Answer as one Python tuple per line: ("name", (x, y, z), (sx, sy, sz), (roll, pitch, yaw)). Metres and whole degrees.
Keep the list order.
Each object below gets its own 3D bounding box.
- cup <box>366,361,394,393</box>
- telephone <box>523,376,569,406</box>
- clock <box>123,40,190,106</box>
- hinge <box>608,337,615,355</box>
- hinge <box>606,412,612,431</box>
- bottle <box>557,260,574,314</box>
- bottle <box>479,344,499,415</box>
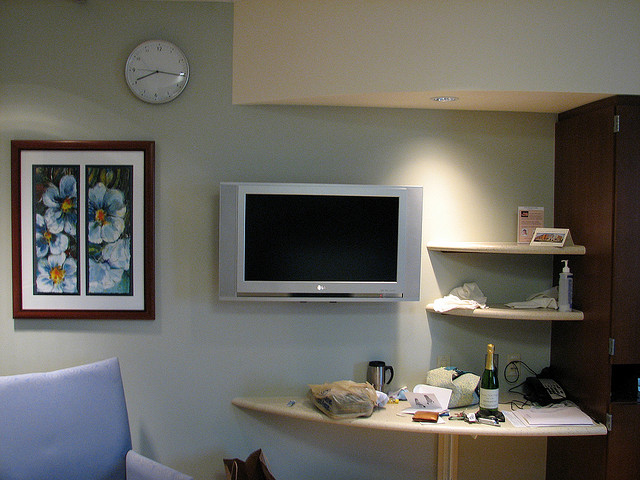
("cup", (0.401, 0.907, 3.708), (0.181, 0.198, 0.128), (-2, 0, 4))
("telephone", (1.471, 0.991, 3.659), (0.231, 0.167, 0.160), (-2, 0, 1))
("clock", (-1.078, -1.118, 3.653), (0.422, 0.424, 0.058), (0, 4, 2))
("hinge", (1.755, 0.638, 3.364), (0.032, 0.095, 0.009), (-2, 0, 24))
("hinge", (1.740, 1.096, 3.364), (0.032, 0.100, 0.013), (-2, 0, 25))
("bottle", (1.595, 0.298, 3.631), (0.101, 0.321, 0.252), (-2, 0, 24))
("bottle", (1.050, 0.860, 3.490), (0.117, 0.410, 0.171), (-2, 0, 17))
